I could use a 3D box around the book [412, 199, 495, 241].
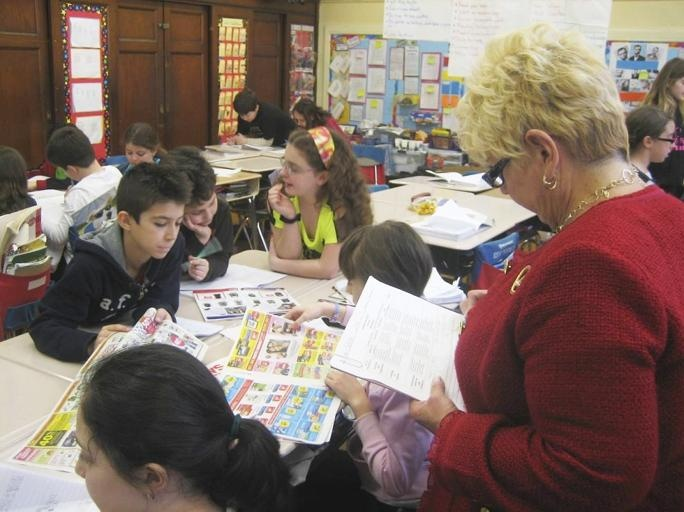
[{"bbox_3d":[0.615,-0.197,3.400,0.300,0.090,0.321,17,32,35],"label":"book"}]

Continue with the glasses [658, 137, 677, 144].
[{"bbox_3d":[2.020,-0.723,3.634,0.096,0.029,0.096,20,35,33],"label":"glasses"}]

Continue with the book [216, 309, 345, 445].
[{"bbox_3d":[-0.160,0.331,1.659,0.284,0.047,0.334,15,35,3],"label":"book"}]

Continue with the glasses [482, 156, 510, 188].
[{"bbox_3d":[0.319,-0.167,1.190,0.014,0.049,0.048,45,1,-2],"label":"glasses"}]

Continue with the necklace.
[{"bbox_3d":[0.479,-0.080,1.144,0.043,0.191,0.068,36,23,-22],"label":"necklace"}]
